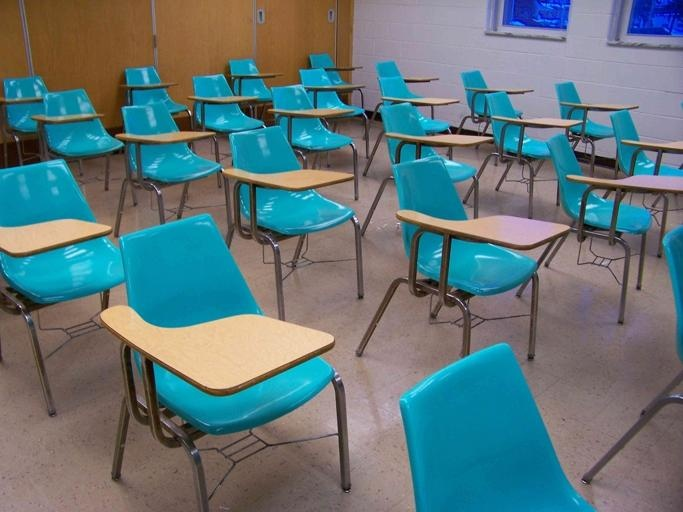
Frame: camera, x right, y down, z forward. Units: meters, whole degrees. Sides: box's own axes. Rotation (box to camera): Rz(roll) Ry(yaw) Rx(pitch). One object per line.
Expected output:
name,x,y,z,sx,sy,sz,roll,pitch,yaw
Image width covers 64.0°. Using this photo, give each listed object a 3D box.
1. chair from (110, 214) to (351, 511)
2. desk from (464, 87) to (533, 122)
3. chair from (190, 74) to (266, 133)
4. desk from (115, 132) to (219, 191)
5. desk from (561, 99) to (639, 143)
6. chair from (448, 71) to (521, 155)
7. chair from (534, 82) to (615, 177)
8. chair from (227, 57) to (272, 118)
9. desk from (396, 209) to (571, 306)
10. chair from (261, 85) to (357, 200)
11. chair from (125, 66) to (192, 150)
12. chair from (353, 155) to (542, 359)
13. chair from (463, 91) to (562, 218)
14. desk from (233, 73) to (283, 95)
chair,-0.429,0.445,2.100,0.750,1.145,0.808,-17,29,-37
desk,1.720,-1.748,6.415,0.343,0.266,0.522,18,21,34
chair,-1.189,-1.528,5.509,0.505,0.473,0.681,-19,32,-26
desk,-1.230,-0.675,3.945,0.527,0.330,0.622,15,23,30
desk,2.539,-1.454,5.429,0.688,0.419,0.670,10,22,30
chair,1.726,-1.720,6.499,0.574,0.795,0.618,25,32,32
chair,2.565,-1.335,5.775,0.653,0.876,0.656,-6,26,-16
chair,-1.174,-2.250,7.065,0.515,0.492,0.574,-12,19,-30
desk,0.613,-0.089,2.315,0.549,0.335,0.504,-3,20,-5
chair,-0.220,-1.016,4.983,0.742,0.991,0.814,-10,26,-20
chair,-2.168,-1.784,6.159,0.586,0.732,0.529,-15,17,-26
chair,0.555,0.058,2.727,0.784,0.994,0.768,12,23,36
chair,1.647,-0.958,5.034,0.590,1.006,0.727,16,28,31
desk,-1.086,-2.265,6.955,0.551,0.295,0.480,-21,35,-37
